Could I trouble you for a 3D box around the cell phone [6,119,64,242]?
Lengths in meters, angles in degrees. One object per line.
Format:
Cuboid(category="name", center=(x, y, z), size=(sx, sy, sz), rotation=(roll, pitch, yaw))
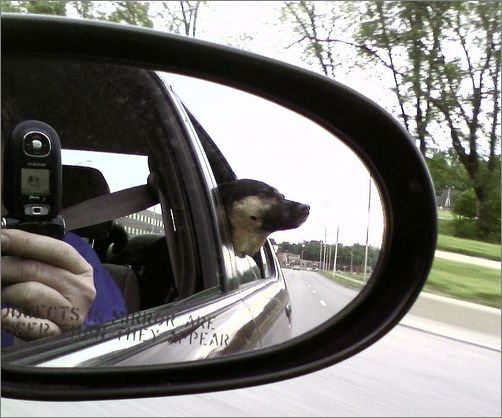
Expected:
Cuboid(category="cell phone", center=(-0.383, -0.049, 0.814), size=(0.103, 0.209, 0.067), rotation=(4, 3, -23))
